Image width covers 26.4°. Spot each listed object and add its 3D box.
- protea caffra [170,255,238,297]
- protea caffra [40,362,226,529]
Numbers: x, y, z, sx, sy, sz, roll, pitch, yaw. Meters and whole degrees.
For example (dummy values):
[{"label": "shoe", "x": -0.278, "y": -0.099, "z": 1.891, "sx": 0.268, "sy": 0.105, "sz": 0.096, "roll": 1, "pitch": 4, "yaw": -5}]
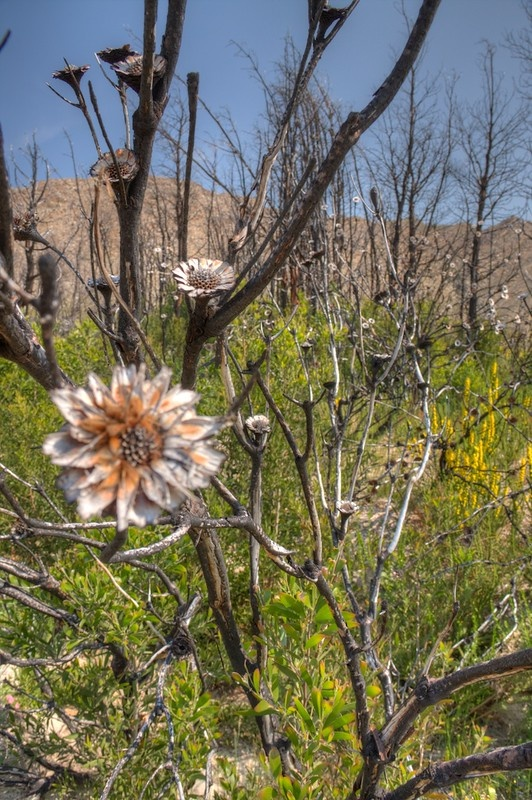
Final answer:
[{"label": "protea caffra", "x": -0.157, "y": -0.307, "z": 2.854, "sx": 0.157, "sy": 0.124, "sz": 0.141, "roll": 7, "pitch": -5, "yaw": -11}, {"label": "protea caffra", "x": -0.282, "y": 0.102, "z": 2.473, "sx": 0.370, "sy": 0.390, "sz": 0.148, "roll": 45, "pitch": -30, "yaw": 21}]
